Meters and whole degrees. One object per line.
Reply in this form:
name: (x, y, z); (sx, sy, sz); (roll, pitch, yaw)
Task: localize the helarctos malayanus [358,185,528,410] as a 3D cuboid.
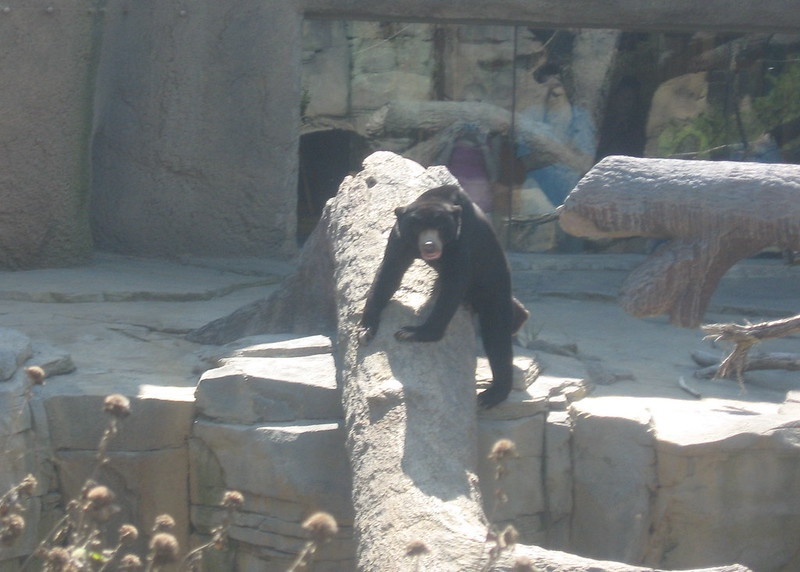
helarctos malayanus: (0.338, 0.079, 12.347); (1.244, 1.759, 0.571); (1, 5, -4)
